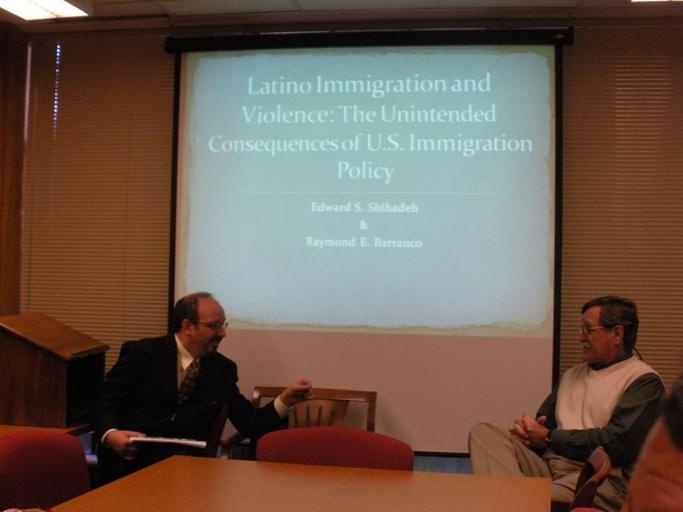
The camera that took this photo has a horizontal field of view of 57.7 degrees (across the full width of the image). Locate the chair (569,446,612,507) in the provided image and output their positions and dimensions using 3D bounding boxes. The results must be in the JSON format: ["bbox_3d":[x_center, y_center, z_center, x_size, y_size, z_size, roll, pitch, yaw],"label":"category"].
[{"bbox_3d":[1.051,0.949,2.613,0.145,0.233,0.374,1,0,21],"label":"chair"}]

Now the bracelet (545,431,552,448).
[{"bbox_3d":[1.109,0.980,3.315,0.045,0.070,0.065,3,-10,7],"label":"bracelet"}]
